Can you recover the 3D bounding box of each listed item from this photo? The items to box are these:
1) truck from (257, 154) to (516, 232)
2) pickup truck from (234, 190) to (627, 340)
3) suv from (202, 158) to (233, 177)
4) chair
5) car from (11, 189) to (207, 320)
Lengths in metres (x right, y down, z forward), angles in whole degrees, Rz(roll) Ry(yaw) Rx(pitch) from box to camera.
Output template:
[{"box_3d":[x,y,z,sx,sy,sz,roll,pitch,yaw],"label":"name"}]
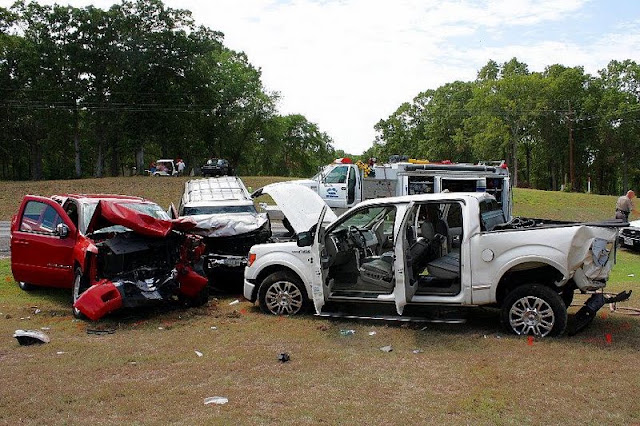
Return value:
[{"box_3d":[2.613,-0.869,20.111,8.599,2.879,3.172,1,2,9],"label":"truck"},{"box_3d":[1.858,0.970,9.636,5.417,1.783,2.980,2,1,16],"label":"pickup truck"},{"box_3d":[-7.995,-3.504,42.883,2.019,1.386,3.142,-2,-4,7],"label":"suv"},{"box_3d":[1.686,0.616,9.613,1.855,0.851,1.335,-5,6,18],"label":"chair"},{"box_3d":[-4.473,0.743,11.012,2.686,1.409,3.309,1,1,-45],"label":"car"}]
